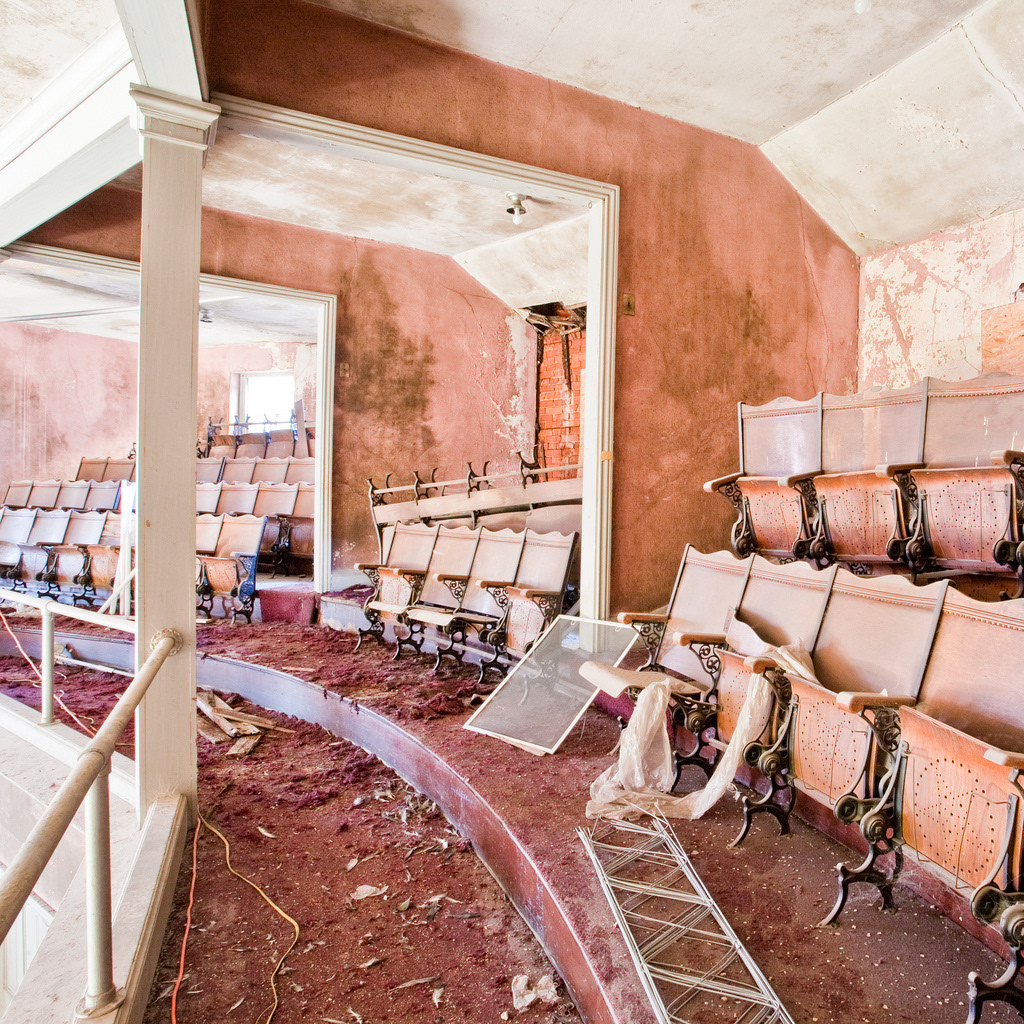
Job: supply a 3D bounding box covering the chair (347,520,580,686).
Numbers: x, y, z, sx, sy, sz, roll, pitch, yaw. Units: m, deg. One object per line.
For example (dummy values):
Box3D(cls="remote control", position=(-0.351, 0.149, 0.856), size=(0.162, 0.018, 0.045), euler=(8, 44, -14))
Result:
Box3D(cls="chair", position=(-0.378, 0.505, 4.873), size=(0.708, 0.815, 1.954), euler=(-5, 5, -33))
